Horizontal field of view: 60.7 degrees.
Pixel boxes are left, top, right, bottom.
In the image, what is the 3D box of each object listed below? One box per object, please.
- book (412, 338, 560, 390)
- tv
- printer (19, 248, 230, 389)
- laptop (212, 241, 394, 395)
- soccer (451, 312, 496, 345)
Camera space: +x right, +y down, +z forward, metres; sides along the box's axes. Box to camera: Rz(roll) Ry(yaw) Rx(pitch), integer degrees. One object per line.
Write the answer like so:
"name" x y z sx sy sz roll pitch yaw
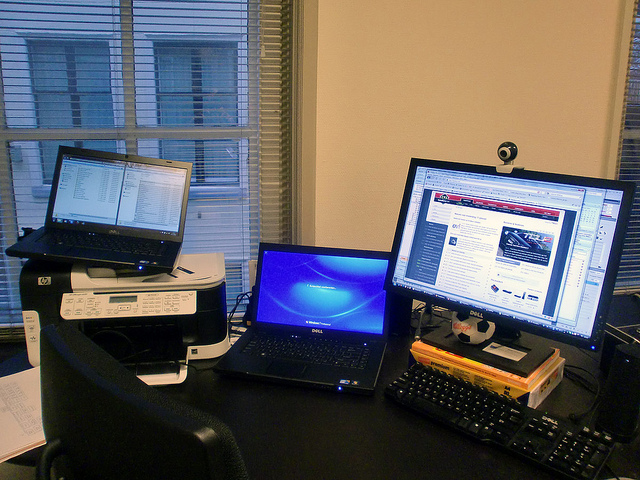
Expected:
"book" 0.518 0.383 1.738 0.401 0.070 0.280 13 14 36
"tv" 0.558 0.099 1.665 0.729 0.545 0.240 15 18 33
"printer" -0.646 0.234 1.857 0.651 0.286 0.433 -1 12 -16
"laptop" -0.027 0.244 1.825 0.564 0.298 0.456 4 21 10
"soccer" 0.468 0.266 1.716 0.116 0.099 0.122 -3 -1 -17
